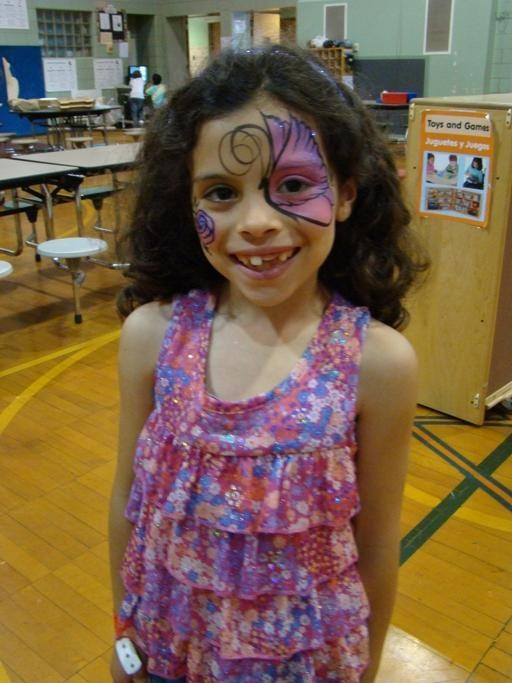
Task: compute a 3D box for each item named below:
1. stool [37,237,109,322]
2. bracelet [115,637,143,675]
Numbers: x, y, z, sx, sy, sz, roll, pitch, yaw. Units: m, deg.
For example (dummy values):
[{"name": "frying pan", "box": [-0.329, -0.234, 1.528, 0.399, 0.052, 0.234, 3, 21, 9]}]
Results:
[{"name": "stool", "box": [-1.841, -0.601, 5.583, 0.766, 0.804, 0.735, -11, 30, -25]}, {"name": "bracelet", "box": [-0.202, 0.495, 0.878, 0.036, 0.017, 0.063, -37, 47, -1]}]
